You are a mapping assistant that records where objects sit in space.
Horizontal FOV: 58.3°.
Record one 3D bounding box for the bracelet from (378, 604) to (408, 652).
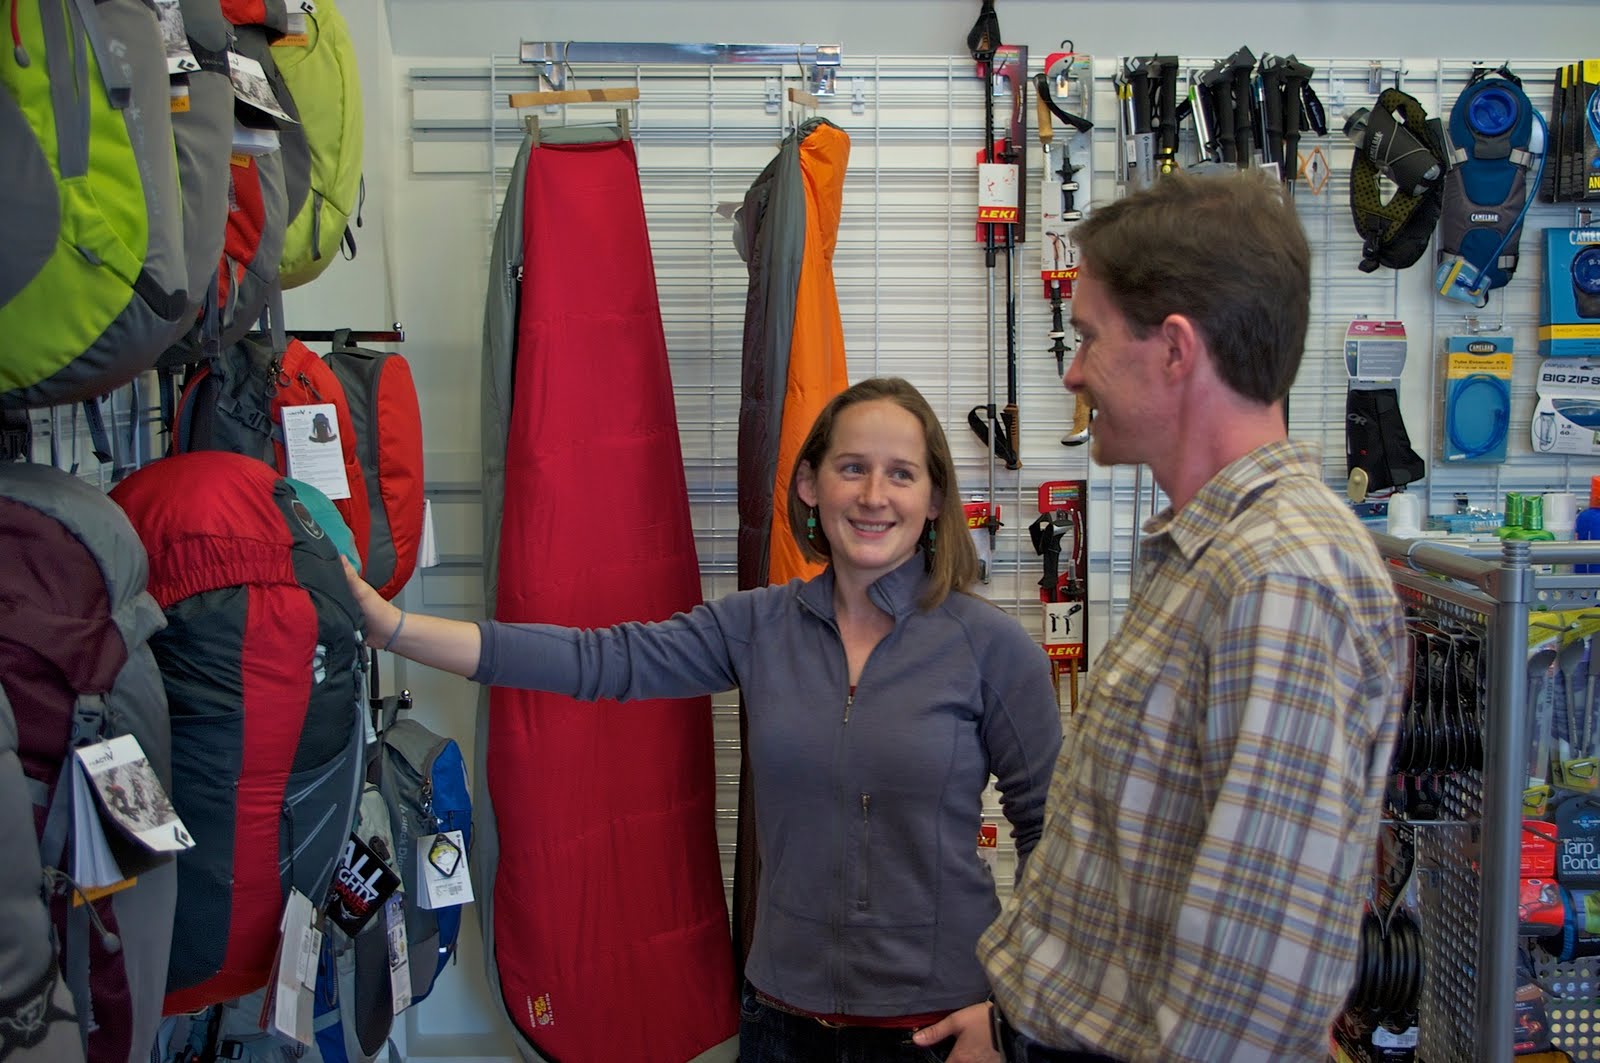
[{"bbox_3d":[-0.772,0.189,2.724,0.052,0.068,0.071,4,-2,-3],"label":"bracelet"}]
